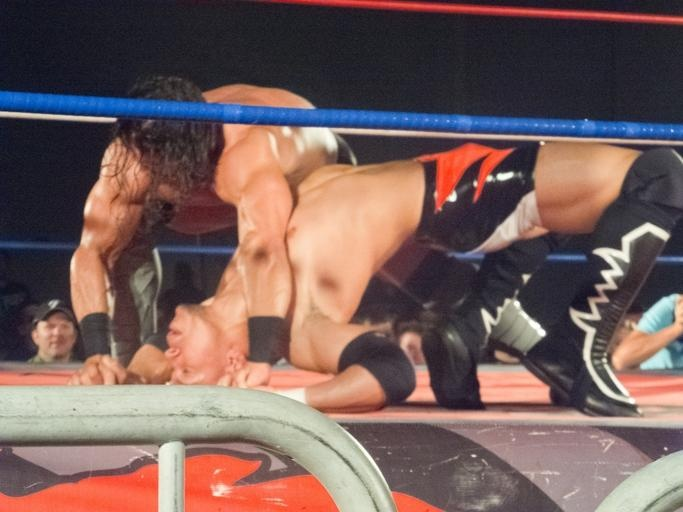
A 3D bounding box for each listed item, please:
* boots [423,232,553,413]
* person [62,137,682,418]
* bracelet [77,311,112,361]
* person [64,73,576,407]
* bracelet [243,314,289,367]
[{"bbox_3d":[0.463,0.196,4.144,0.253,0.527,0.430,21,27,20],"label":"boots"},{"bbox_3d":[0.199,0.059,4.269,1.630,0.579,1.030,0,-5,-5],"label":"person"},{"bbox_3d":[-0.801,0.258,4.052,0.154,0.201,0.148,-3,1,-10],"label":"bracelet"},{"bbox_3d":[0.004,-0.149,4.155,1.676,0.875,0.875,-10,16,-35],"label":"person"},{"bbox_3d":[-0.245,0.273,4.096,0.128,0.134,0.094,6,26,-9],"label":"bracelet"}]
